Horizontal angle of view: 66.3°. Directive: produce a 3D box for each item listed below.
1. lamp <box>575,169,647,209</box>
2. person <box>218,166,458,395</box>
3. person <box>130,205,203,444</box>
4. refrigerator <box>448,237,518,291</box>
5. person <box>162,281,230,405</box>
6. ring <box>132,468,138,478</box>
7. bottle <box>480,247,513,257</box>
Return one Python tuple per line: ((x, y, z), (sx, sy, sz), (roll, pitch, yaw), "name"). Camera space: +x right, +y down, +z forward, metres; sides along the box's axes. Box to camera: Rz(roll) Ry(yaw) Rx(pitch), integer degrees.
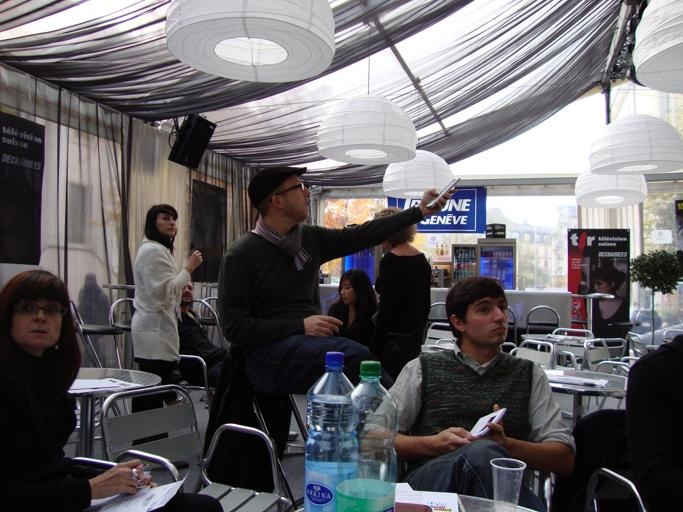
((3.654, -0.960, 7.110), (0.813, 0.424, 0.918), (0, -3, 22), "lamp")
((-0.166, 0.305, 3.503), (1.398, 2.025, 0.959), (-13, -15, 25), "person")
((-1.511, 0.562, 4.526), (0.616, 1.946, 0.609), (1, 4, -18), "person")
((2.459, 0.106, 8.932), (1.027, 0.961, 0.366), (0, -5, 16), "refrigerator")
((-1.274, 0.745, 4.727), (0.511, 0.933, 0.405), (4, 10, -9), "person")
((-0.729, 0.769, 1.843), (0.008, 0.028, 0.023), (-11, 18, -42), "ring")
((3.086, -0.077, 10.314), (0.433, 0.232, 0.104), (1, -2, 12), "bottle")
